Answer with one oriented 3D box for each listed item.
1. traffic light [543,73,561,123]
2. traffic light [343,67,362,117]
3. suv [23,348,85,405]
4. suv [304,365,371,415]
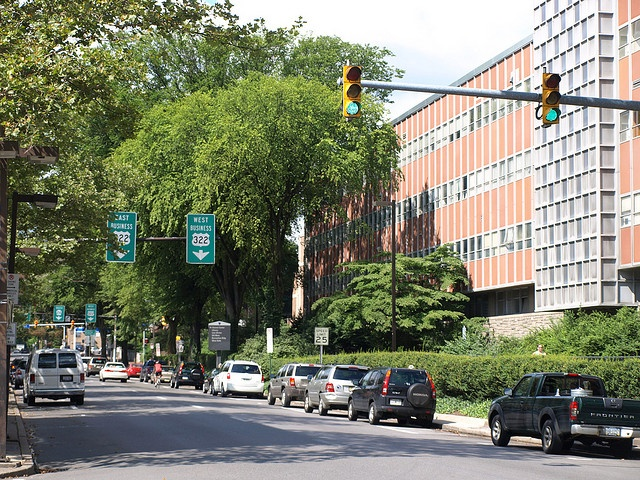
[{"bbox_3d":[5.426,-3.398,20.294,0.417,1.260,0.628,0,-10,15],"label":"traffic light"},{"bbox_3d":[0.709,-3.416,19.467,0.393,1.303,0.489,2,-10,4],"label":"traffic light"},{"bbox_3d":[-11.282,5.777,36.797,2.369,2.565,3.575,3,-8,-20],"label":"suv"},{"bbox_3d":[0.419,6.004,34.743,1.701,1.861,4.224,0,-5,-10],"label":"suv"}]
